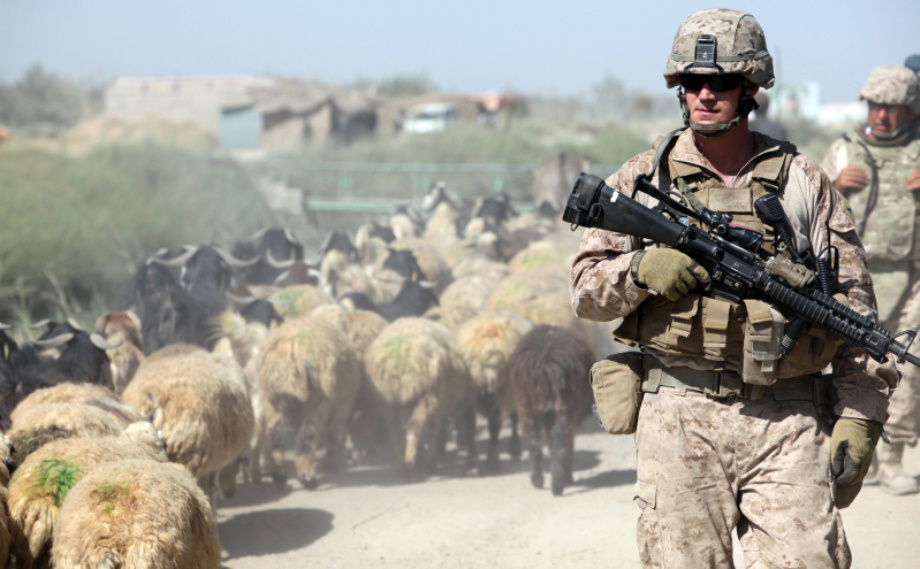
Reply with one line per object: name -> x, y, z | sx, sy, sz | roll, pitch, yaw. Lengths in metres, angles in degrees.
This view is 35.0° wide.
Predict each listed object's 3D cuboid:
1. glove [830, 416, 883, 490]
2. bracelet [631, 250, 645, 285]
glove -> 2.335, 0.969, 8.572 | 0.238, 0.314, 0.322 | -3, 10, -27
bracelet -> 1.018, -0.084, 8.464 | 0.062, 0.166, 0.132 | 7, 6, 22
